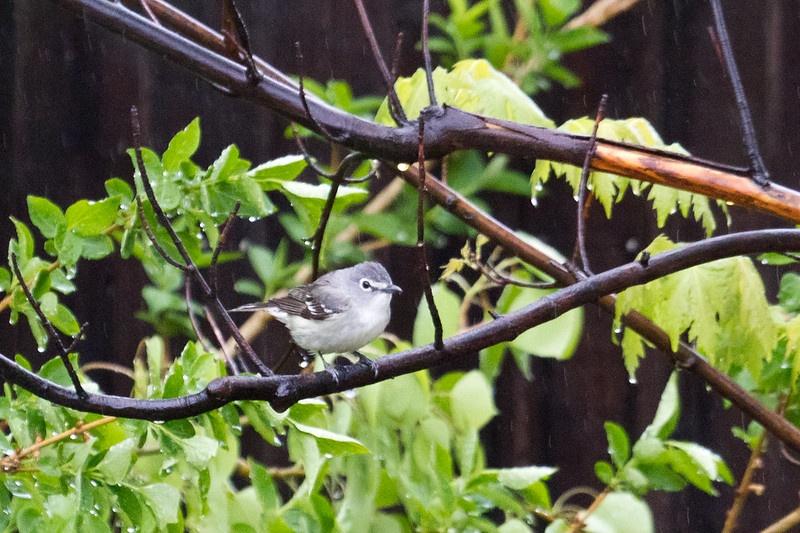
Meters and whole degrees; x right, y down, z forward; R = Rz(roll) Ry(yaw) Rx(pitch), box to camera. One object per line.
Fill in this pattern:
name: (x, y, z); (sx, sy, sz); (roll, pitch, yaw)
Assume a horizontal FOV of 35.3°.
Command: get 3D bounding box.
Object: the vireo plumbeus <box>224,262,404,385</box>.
vireo plumbeus: (-0.432, 0.201, 6.624); (1.045, 0.602, 0.425); (18, 14, 40)
